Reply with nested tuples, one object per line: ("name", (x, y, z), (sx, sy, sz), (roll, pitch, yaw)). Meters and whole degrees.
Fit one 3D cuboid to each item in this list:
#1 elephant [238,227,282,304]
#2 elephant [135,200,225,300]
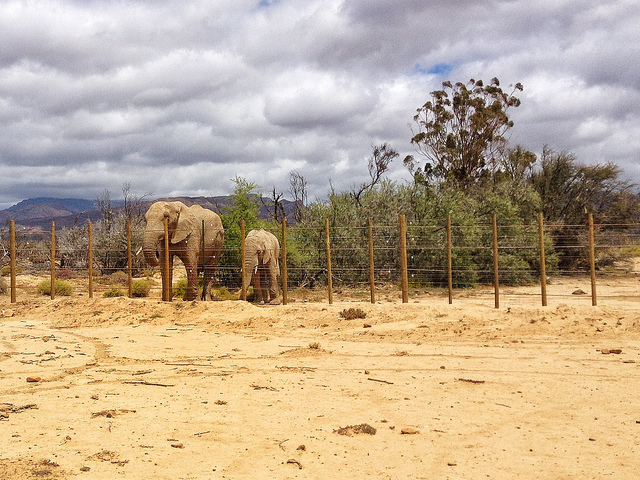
("elephant", (-1.900, 0.921, 22.371), (1.118, 2.467, 3.058), (-5, -3, 18))
("elephant", (-4.308, 0.336, 21.590), (1.619, 3.301, 3.721), (2, 1, 28))
